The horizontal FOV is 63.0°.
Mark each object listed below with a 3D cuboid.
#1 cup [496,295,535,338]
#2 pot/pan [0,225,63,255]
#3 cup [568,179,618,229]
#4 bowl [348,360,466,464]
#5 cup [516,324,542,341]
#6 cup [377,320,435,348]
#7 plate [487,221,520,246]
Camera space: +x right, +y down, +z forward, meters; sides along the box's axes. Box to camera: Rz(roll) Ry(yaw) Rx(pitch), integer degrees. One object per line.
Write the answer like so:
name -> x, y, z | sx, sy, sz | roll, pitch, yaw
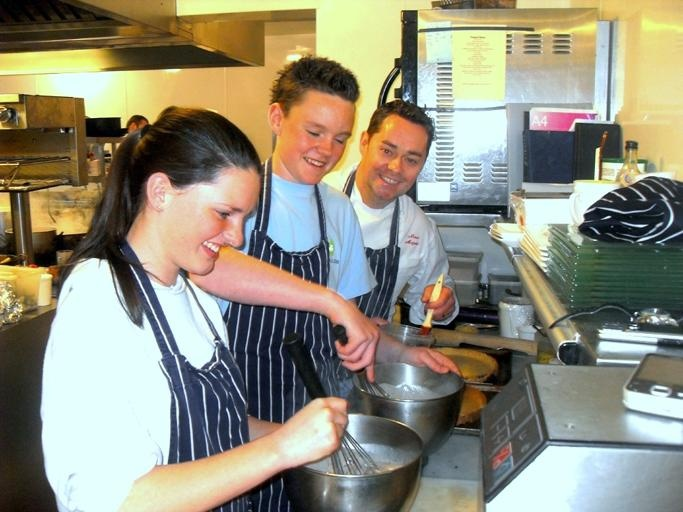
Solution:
cup -> 0.661, 0.230, 2.100 | 0.145, 0.146, 0.116 | 0, 7, 31
pot/pan -> -1.670, -0.082, 3.009 | 0.177, 0.123, 0.195 | 0, -1, -5
cup -> 0.579, -0.117, 1.329 | 0.134, 0.133, 0.129 | -3, 2, 0
bowl -> 0.168, 0.356, 1.379 | 0.223, 0.148, 0.232 | 1, 1, 0
cup -> 0.681, 0.277, 2.012 | 0.047, 0.051, 0.059 | 0, 2, 0
cup -> 0.217, 0.249, 1.805 | 0.135, 0.076, 0.134 | 8, -2, 0
plate -> 0.522, -0.077, 1.732 | 0.081, 0.027, 0.079 | 12, 16, 2
